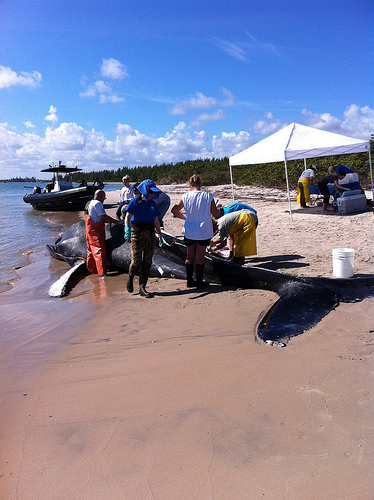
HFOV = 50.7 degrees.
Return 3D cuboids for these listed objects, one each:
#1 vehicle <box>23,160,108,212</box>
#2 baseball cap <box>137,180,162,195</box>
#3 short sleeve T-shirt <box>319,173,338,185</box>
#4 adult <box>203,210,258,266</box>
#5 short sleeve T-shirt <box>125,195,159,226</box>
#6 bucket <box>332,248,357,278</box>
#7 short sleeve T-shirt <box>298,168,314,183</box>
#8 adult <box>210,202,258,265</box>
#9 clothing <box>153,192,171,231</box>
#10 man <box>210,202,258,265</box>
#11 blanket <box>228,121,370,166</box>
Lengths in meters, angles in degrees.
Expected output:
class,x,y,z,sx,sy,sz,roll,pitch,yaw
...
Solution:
class,x,y,z,sx,sy,sz,roll,pitch,yaw
vehicle,-7.298,-3.547,22.535,3.049,2.839,6.058,-11,12,-24
baseball cap,-0.522,-0.870,5.439,0.296,0.175,0.194,9,15,29
short sleeve T-shirt,4.233,-2.116,11.786,0.621,0.301,0.463,-4,3,27
adult,0.751,-0.175,6.284,0.874,0.895,0.686,1,15,40
short sleeve T-shirt,-0.616,-0.538,5.566,0.589,0.448,0.314,-4,12,-27
bucket,2.094,0.180,5.340,0.388,0.405,0.384,-1,3,0
short sleeve T-shirt,4.104,-2.542,13.228,0.381,0.255,0.682,10,27,31
adult,0.840,-0.263,6.440,0.902,0.988,0.738,3,16,30
clothing,-0.490,-0.886,8.226,0.380,0.758,0.326,1,27,6
man,0.980,-0.278,6.341,0.902,0.988,0.738,3,16,30
blanket,3.161,-3.135,11.321,3.688,1.095,1.506,-2,12,21
